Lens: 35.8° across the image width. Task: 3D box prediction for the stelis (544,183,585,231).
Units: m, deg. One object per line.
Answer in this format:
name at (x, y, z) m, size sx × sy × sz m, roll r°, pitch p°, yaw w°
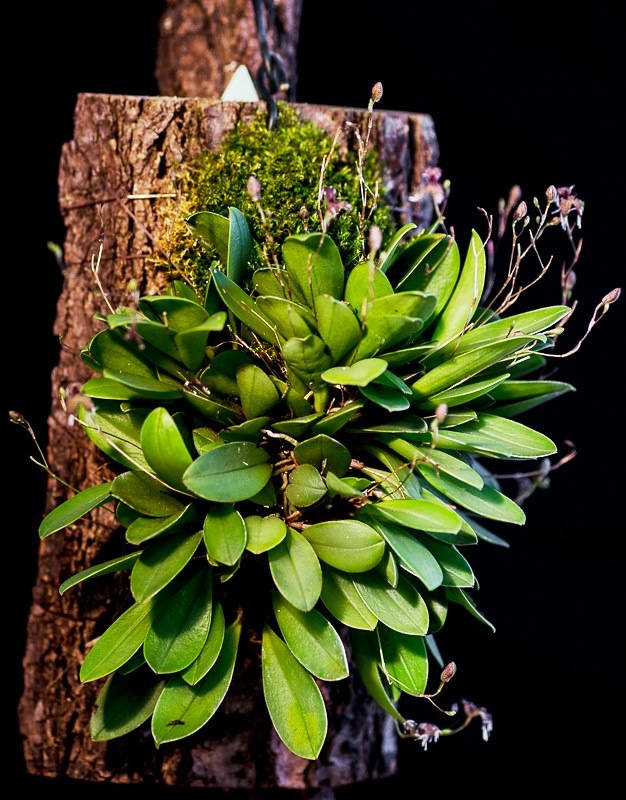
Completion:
stelis at (0.365, -0.262, 1.351) m, size 0.030 × 0.064 × 0.070 m, roll -5°, pitch -5°, yaw -17°
